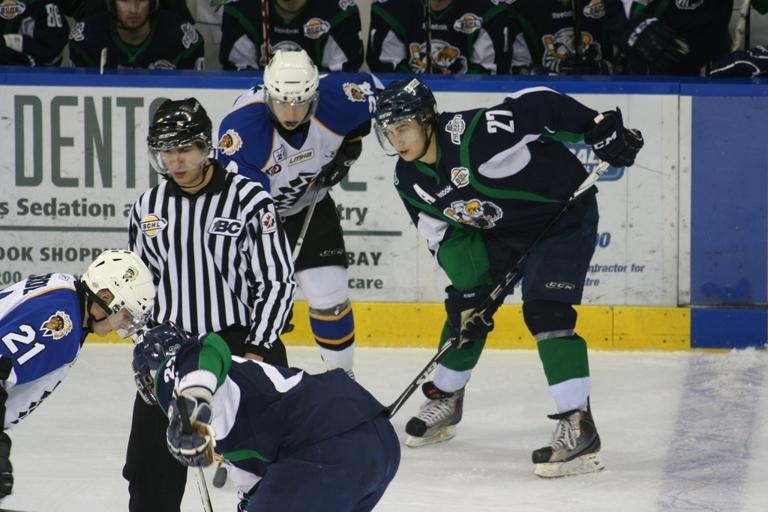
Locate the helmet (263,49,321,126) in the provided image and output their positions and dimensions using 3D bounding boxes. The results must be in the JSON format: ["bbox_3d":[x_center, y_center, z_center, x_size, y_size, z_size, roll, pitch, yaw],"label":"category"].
[{"bbox_3d":[-0.490,-0.910,5.460,0.331,0.399,0.416,0,36,-5],"label":"helmet"}]

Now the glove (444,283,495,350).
[{"bbox_3d":[0.465,0.327,5.594,0.135,0.305,0.310,9,2,-28],"label":"glove"}]

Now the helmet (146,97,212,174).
[{"bbox_3d":[-0.954,-0.570,4.791,0.294,0.369,0.168,-1,3,-12],"label":"helmet"}]

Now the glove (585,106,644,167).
[{"bbox_3d":[1.287,-0.606,5.463,0.164,0.403,0.348,31,-6,5],"label":"glove"}]

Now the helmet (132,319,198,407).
[{"bbox_3d":[-0.941,0.434,4.527,0.297,0.359,0.368,-3,14,-6],"label":"helmet"}]

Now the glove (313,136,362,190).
[{"bbox_3d":[-0.251,-0.532,5.891,0.119,0.314,0.221,40,-23,17],"label":"glove"}]

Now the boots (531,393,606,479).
[{"bbox_3d":[0.868,0.994,5.309,0.521,0.534,0.215,0,-22,-1],"label":"boots"}]

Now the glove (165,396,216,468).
[{"bbox_3d":[-0.765,0.704,4.029,0.202,0.272,0.407,1,-20,-18],"label":"glove"}]

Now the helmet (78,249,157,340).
[{"bbox_3d":[-1.209,0.163,4.608,0.366,0.367,0.294,22,4,5],"label":"helmet"}]
